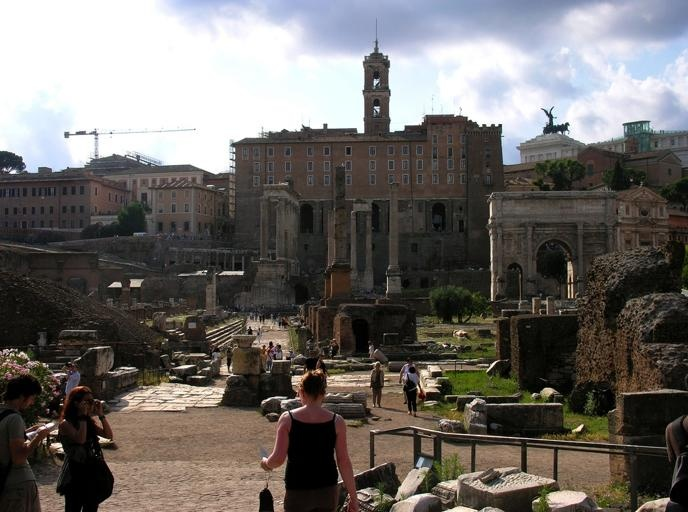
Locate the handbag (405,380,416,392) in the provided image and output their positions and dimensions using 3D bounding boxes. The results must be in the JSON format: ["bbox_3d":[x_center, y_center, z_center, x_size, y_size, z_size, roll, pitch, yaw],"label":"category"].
[{"bbox_3d":[1.547,3.080,23.255,0.206,0.209,0.206,5,-6,-27],"label":"handbag"}]
